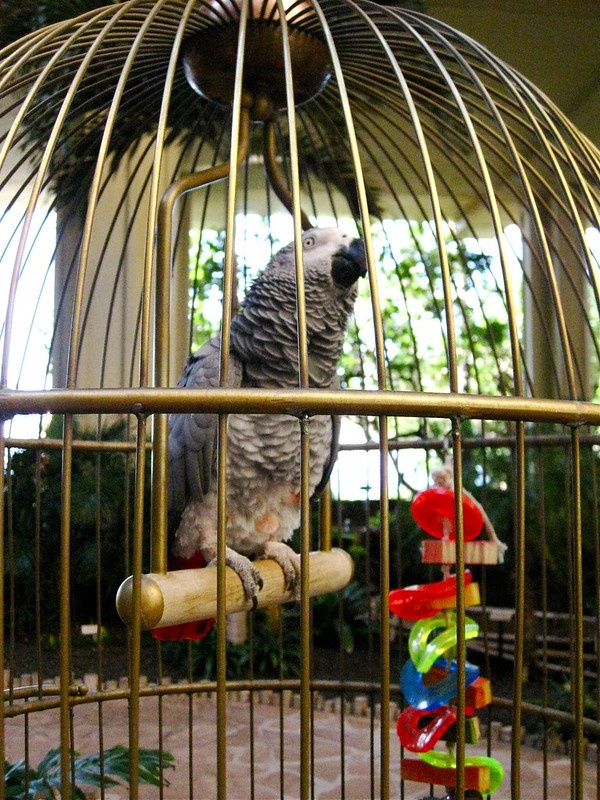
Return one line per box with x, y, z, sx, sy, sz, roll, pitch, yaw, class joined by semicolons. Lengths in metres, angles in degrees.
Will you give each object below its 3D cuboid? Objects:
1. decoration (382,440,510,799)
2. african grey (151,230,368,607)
0.393;0.571;3.738;0.317;0.922;0.747;-3;-10;4;decoration
-0.093;0.038;4.058;0.577;1.087;0.677;-2;-10;-6;african grey
